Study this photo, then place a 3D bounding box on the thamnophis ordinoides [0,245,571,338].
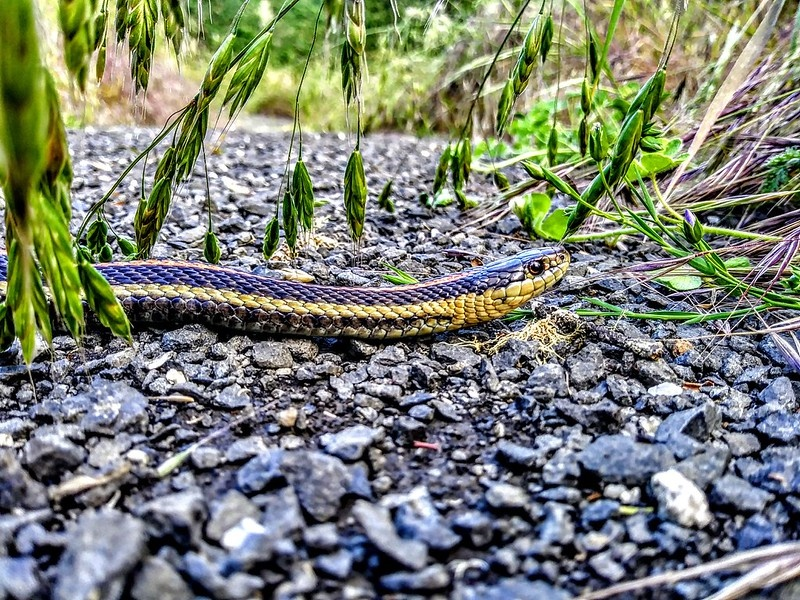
[{"bbox_3d":[-0.504,-0.020,3.548,2.608,0.362,0.398,-2,6,-5],"label":"thamnophis ordinoides"}]
